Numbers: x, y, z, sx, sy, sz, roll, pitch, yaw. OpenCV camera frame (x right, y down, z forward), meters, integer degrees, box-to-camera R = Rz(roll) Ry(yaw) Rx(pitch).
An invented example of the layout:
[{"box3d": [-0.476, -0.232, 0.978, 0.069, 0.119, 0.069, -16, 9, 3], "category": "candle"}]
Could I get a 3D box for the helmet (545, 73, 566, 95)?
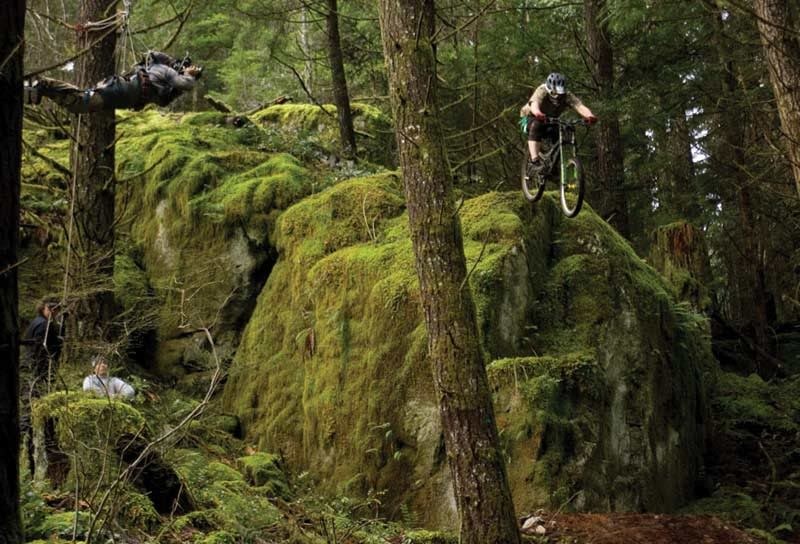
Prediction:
[{"box3d": [3.264, -3.900, 19.558, 0.306, 0.474, 0.425, 3, -39, 3], "category": "helmet"}]
